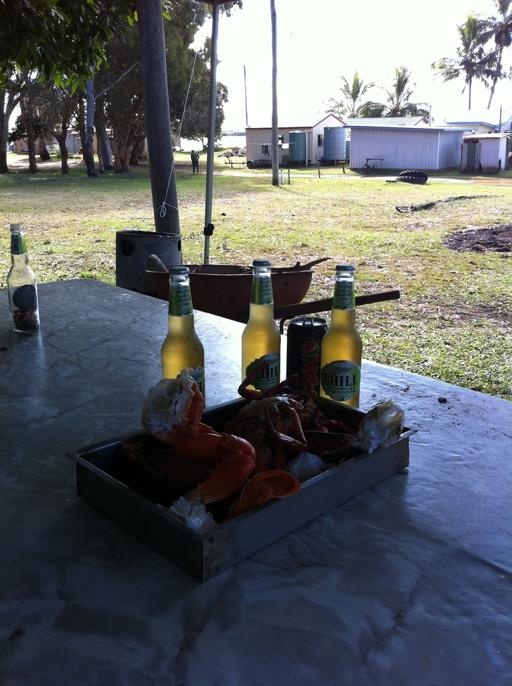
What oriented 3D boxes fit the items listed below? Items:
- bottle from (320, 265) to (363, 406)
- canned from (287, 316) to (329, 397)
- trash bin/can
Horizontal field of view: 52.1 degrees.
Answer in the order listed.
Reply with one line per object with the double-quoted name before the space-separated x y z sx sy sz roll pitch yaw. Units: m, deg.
"bottle" 0.134 0.002 0.834 0.064 0.253 0.160 2 13 11
"canned" 0.080 0.023 0.919 0.077 0.117 0.081 10 16 36
"trash bin/can" -0.732 -0.562 3.427 0.434 0.594 0.452 -11 14 -33
